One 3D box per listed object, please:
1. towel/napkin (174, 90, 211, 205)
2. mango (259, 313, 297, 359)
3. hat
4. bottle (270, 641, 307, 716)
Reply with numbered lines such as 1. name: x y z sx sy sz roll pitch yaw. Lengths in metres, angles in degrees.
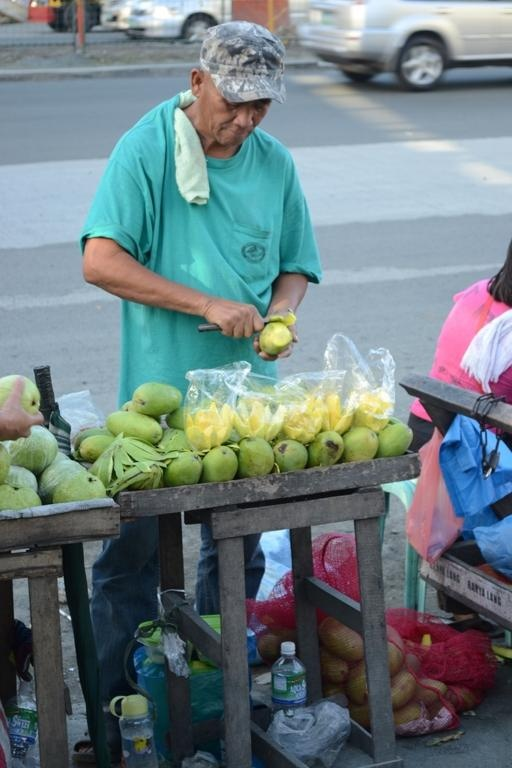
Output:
1. towel/napkin: -0.176 -0.668 2.721 0.099 0.322 0.104 -17 28 -31
2. mango: 0.064 -0.149 2.638 0.094 0.121 0.093 16 -32 4
3. hat: -0.037 -0.850 2.511 0.217 0.225 0.163 -4 9 1
4. bottle: 0.088 0.836 2.711 0.101 0.182 0.082 4 8 31
